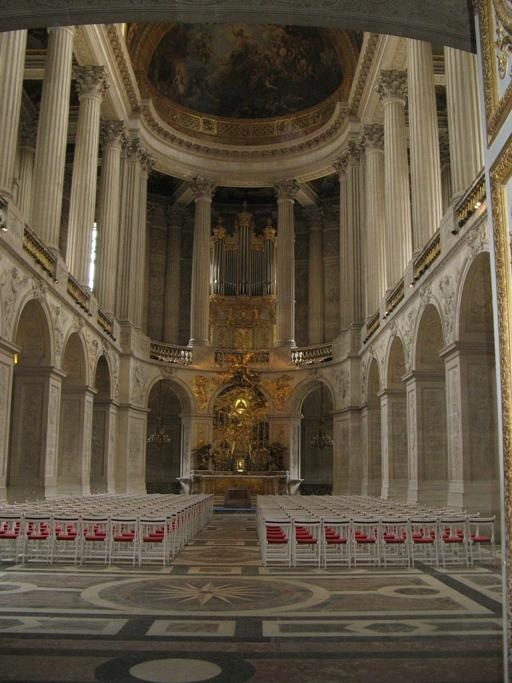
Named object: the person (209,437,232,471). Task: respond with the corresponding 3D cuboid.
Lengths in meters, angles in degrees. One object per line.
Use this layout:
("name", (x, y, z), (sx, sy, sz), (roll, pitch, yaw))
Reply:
("person", (-1.493, 5.142, 29.699), (1.034, 1.229, 0.482), (2, -3, -6))

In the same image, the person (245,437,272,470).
("person", (0.119, 5.173, 29.714), (1.002, 1.254, 0.351), (-1, -10, 25))
